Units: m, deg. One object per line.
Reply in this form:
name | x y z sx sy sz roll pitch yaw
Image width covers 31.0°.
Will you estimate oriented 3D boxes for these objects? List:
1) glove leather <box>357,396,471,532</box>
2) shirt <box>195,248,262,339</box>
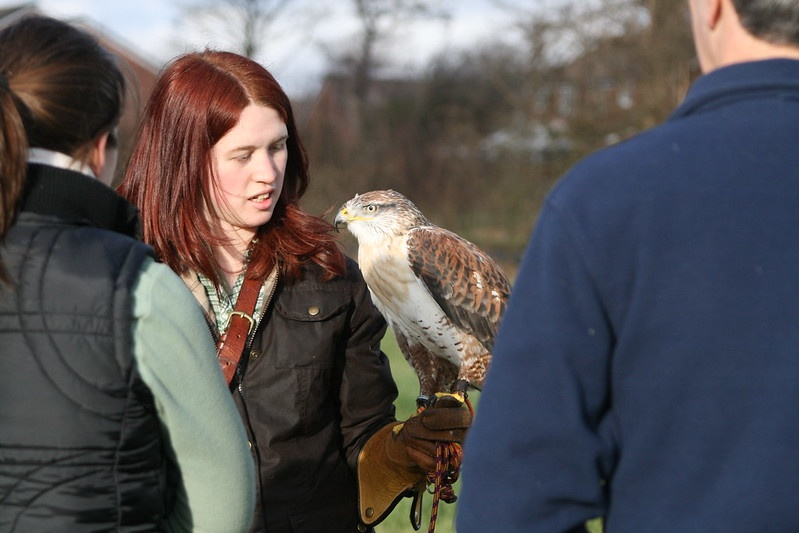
glove leather | 0.055 0.613 4.660 0.195 0.462 0.317 18 1 34
shirt | -0.557 0.089 4.589 0.161 0.241 0.055 7 -23 -18
